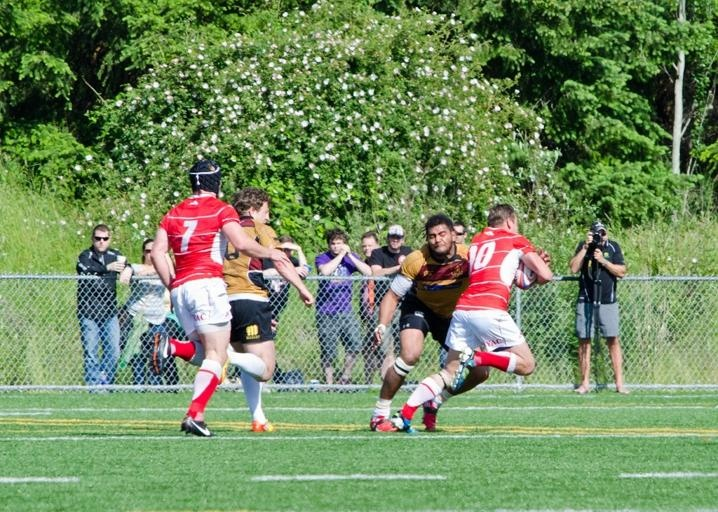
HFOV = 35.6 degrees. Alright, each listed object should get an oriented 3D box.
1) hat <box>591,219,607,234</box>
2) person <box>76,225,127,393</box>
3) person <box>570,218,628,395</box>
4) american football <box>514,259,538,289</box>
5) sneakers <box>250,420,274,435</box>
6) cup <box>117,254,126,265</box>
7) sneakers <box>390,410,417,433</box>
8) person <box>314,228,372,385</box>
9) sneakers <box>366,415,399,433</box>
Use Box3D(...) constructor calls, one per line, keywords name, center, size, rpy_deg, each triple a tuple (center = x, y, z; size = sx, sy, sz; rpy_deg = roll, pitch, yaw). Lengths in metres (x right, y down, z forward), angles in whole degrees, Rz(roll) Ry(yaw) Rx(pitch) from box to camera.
Box3D(name="hat", center=(4.303, -0.517, 20.066), size=(0.274, 0.186, 0.428), rpy_deg=(2, 7, 12))
Box3D(name="person", center=(-4.636, 0.879, 20.362), size=(0.903, 2.885, 0.627), rpy_deg=(0, 5, -3))
Box3D(name="person", center=(4.328, 0.940, 20.264), size=(0.985, 3.123, 0.586), rpy_deg=(2, 5, 13))
Box3D(name="american football", center=(2.482, 0.304, 16.674), size=(0.270, 0.424, 0.339), rpy_deg=(-2, -29, 24))
Box3D(name="sneakers", center=(-1.443, 2.552, 16.630), size=(0.394, 0.187, 0.134), rpy_deg=(2, 1, -32))
Box3D(name="cup", center=(-4.289, 0.052, 20.278), size=(0.132, 0.118, 0.130), rpy_deg=(2, -3, 0))
Box3D(name="sneakers", center=(0.617, 2.417, 16.646), size=(0.174, 0.247, 0.500), rpy_deg=(7, 28, -43))
Box3D(name="person", center=(-0.341, 0.913, 20.622), size=(0.902, 2.794, 0.649), rpy_deg=(0, 5, -3))
Box3D(name="sneakers", center=(0.347, 2.488, 16.612), size=(0.356, 0.200, 0.196), rpy_deg=(-2, -2, 25))
